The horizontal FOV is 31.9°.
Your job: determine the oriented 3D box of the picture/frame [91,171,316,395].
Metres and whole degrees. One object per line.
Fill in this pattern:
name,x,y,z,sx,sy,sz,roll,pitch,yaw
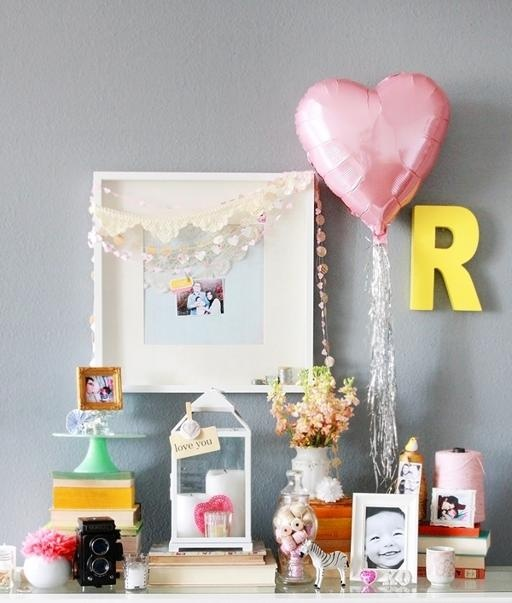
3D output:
picture/frame,-0.147,-0.038,2.219,0.583,0.581,0.051,1,5,-1

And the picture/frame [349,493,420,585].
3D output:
picture/frame,0.284,0.525,1.981,0.204,0.259,0.021,1,-7,1

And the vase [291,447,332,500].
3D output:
vase,0.122,0.395,2.046,0.106,0.122,0.107,9,-14,-43

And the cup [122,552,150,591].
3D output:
cup,-0.255,0.586,1.966,0.075,0.072,0.063,2,-2,-39

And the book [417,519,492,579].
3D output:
book,0.444,0.550,2.016,0.133,0.079,0.126,0,-4,0

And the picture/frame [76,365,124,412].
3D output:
picture/frame,-0.369,0.205,2.119,0.118,0.117,0.018,-1,-10,-9

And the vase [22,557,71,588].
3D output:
vase,-0.463,0.589,1.974,0.111,0.074,0.091,-1,-5,0

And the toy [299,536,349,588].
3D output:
toy,0.150,0.570,1.981,0.101,0.105,0.107,-2,-5,7

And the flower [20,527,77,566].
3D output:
flower,-0.449,0.530,1.959,0.084,0.046,0.081,1,0,12

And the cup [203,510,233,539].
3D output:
cup,-0.086,0.490,1.990,0.057,0.058,0.056,1,-4,0

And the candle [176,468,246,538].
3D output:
candle,-0.095,0.449,2.007,0.182,0.169,0.098,1,-8,8

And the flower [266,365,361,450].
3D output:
flower,0.159,0.253,2.207,0.206,0.224,0.219,-5,-7,37
